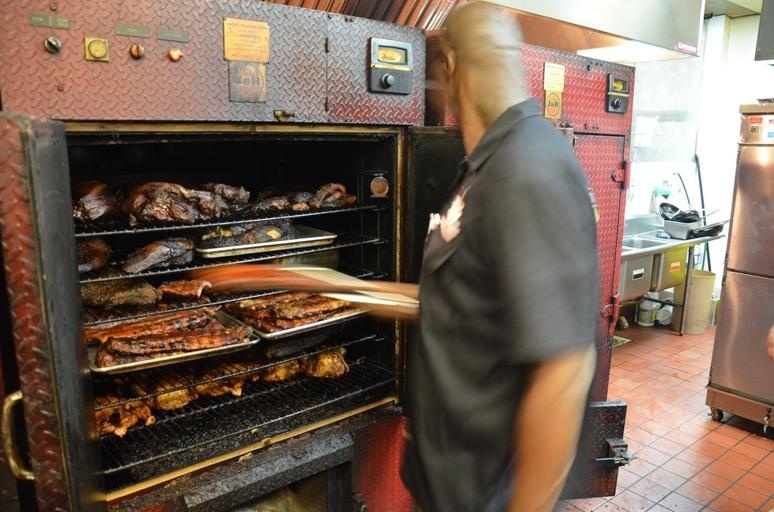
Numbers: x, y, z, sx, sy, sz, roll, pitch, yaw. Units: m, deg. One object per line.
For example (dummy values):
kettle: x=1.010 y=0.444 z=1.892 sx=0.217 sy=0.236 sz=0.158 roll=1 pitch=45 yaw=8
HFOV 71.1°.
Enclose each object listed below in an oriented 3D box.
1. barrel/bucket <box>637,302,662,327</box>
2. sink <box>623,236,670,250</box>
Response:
barrel/bucket: x=3.701 y=0.805 z=7.627 sx=0.381 sy=0.319 sz=0.210 roll=-9 pitch=19 yaw=-36
sink: x=3.278 y=-0.156 z=6.983 sx=0.225 sy=0.128 sz=0.215 roll=-8 pitch=18 yaw=-20
